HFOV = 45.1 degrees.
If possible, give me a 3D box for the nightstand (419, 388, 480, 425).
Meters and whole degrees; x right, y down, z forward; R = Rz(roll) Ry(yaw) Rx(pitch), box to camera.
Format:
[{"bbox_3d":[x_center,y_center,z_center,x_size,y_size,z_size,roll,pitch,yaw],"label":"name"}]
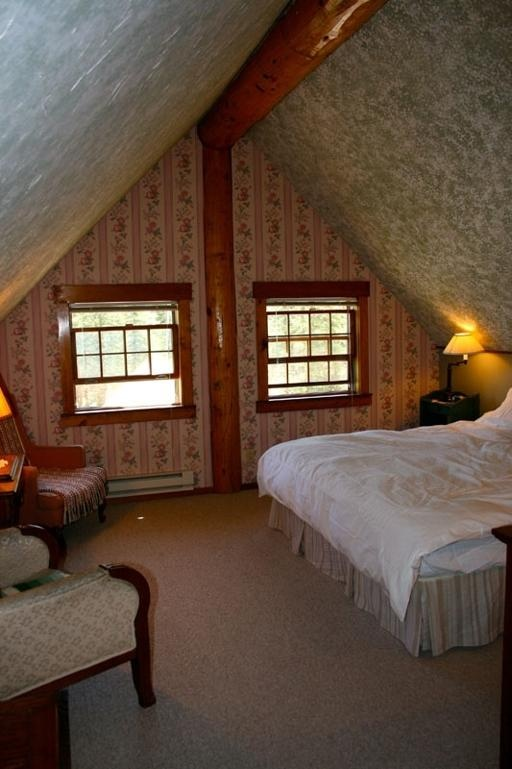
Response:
[{"bbox_3d":[1.701,0.201,5.438,0.320,0.393,0.409,-1,4,-20],"label":"nightstand"}]
